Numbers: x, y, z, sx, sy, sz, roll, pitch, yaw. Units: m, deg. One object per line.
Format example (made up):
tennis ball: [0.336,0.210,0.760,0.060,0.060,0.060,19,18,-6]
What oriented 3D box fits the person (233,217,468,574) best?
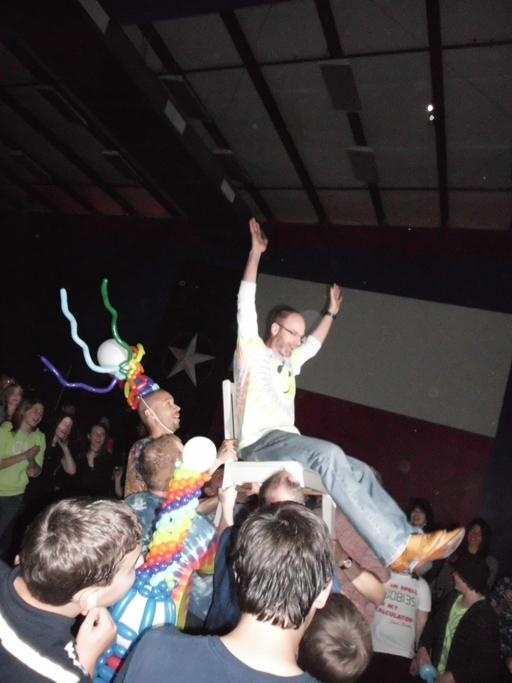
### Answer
person: [0.414,0.260,2.533,1.185,1.745,1.040,-13,-24,39]

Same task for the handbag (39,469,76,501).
handbag: [-1.854,1.340,4.386,0.330,0.345,0.082,3,1,33]

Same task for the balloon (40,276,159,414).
balloon: [-1.817,0.030,5.474,1.876,0.923,0.655,54,-17,-28]
